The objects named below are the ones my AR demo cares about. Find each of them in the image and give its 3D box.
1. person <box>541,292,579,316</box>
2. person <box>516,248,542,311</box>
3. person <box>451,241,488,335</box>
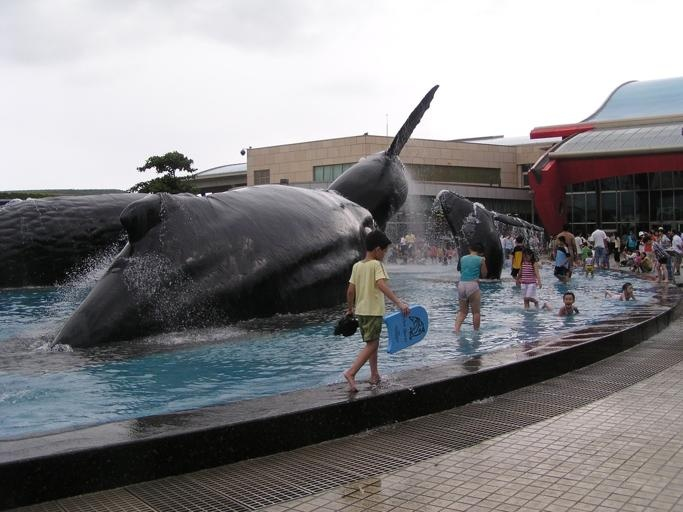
[{"bbox_3d":[4.813,0.985,10.665,0.363,0.440,0.990,3,3,34],"label":"person"},{"bbox_3d":[4.369,0.485,11.478,0.437,1.308,1.064,2,4,22],"label":"person"},{"bbox_3d":[2.379,0.501,9.106,0.504,1.490,1.839,2,3,14],"label":"person"}]
